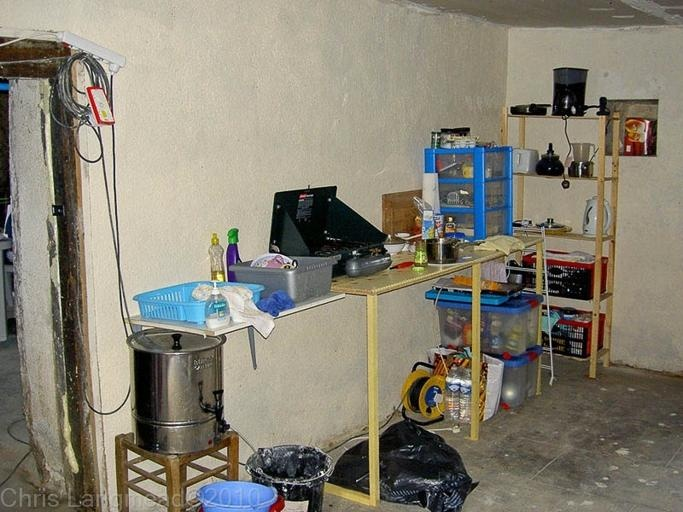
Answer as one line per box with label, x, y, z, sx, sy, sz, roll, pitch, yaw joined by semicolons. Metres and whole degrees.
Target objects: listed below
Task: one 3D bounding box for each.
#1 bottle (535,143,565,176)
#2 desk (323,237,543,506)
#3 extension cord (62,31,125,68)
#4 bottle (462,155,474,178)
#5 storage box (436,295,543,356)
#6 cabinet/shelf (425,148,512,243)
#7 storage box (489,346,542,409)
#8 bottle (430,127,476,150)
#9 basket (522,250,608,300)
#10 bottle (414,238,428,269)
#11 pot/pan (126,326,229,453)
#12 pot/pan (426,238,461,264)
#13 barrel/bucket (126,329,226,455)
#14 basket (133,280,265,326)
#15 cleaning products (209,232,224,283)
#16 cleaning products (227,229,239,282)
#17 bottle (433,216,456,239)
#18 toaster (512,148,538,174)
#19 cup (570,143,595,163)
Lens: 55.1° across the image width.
bottle;1.739;-0.795;5.437;0.275;0.290;0.271;0;3;-1
desk;0.593;0.799;4.378;0.372;0.858;1.531;4;10;33
extension cord;-1.156;-0.967;3.071;0.310;0.155;0.176;-7;15;-29
bottle;0.946;-0.668;4.844;0.040;0.161;0.109;-7;15;-26
storage box;1.118;0.528;4.979;0.686;0.321;0.465;1;5;28
cabinet/shelf;1.007;-0.466;5.141;0.535;0.697;0.536;6;11;42
storage box;1.378;0.926;5.032;0.352;0.300;0.486;3;5;38
bottle;0.839;-0.885;4.904;0.334;0.153;0.174;3;14;11
basket;1.979;0.029;5.690;0.632;0.368;0.467;8;13;42
bottle;0.513;-0.027;4.166;0.084;0.156;0.261;2;13;8
pot/pan;-0.759;0.637;3.293;0.575;0.536;0.478;5;8;34
pot/pan;0.663;-0.036;4.235;0.204;0.093;0.147;-4;5;-37
barrel/bucket;-0.763;0.637;3.319;0.578;0.545;0.480;6;8;34
basket;-0.754;0.213;3.322;0.616;0.148;0.438;5;14;17
cleaning products;-0.686;0.011;3.616;0.092;0.268;0.200;-2;14;-11
cleaning products;-0.603;-0.012;3.646;0.078;0.272;0.289;-2;14;-9
bottle;0.754;-0.207;4.798;0.064;0.168;0.184;5;10;39
toaster;1.572;-0.808;5.589;0.298;0.211;0.211;-1;14;-4
cup;2.055;-0.885;5.585;0.237;0.160;0.190;3;3;14
